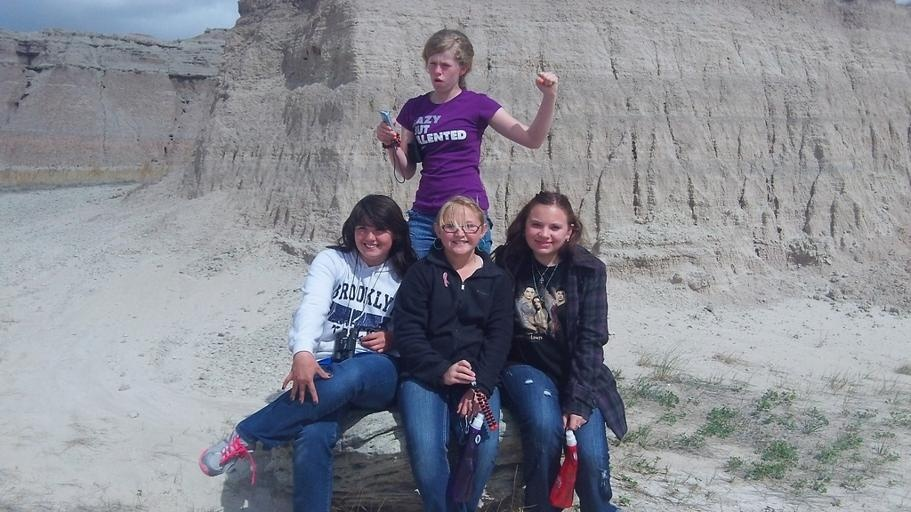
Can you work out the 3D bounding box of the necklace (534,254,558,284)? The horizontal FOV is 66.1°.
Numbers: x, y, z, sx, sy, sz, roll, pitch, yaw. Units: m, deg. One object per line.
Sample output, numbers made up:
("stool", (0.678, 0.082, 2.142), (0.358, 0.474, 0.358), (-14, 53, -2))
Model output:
("necklace", (1.804, 0.336, 13.904), (0.357, 0.455, 0.170), (12, 2, 5))
